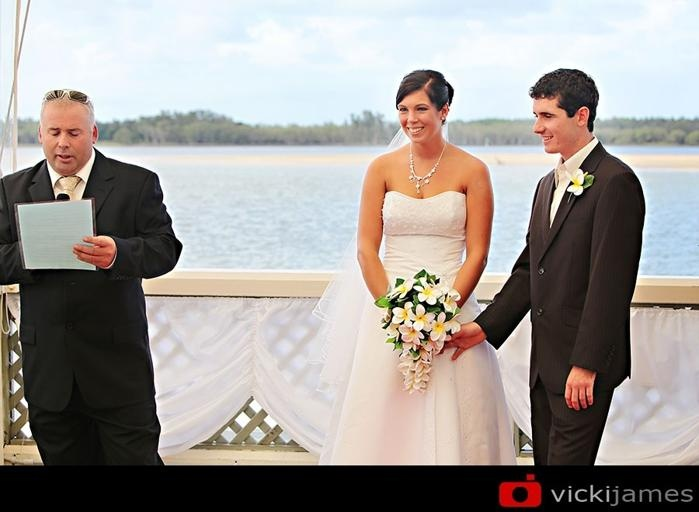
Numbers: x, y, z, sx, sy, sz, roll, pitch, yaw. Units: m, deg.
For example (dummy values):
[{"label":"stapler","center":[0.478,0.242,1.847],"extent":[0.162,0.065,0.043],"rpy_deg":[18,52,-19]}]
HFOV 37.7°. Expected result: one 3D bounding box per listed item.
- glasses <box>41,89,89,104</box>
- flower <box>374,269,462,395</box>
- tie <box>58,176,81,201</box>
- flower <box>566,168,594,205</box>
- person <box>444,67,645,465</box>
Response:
[{"label":"glasses","center":[-1.461,-0.823,5.325],"extent":[0.232,0.077,0.089],"rpy_deg":[-3,10,-13]},{"label":"flower","center":[0.359,0.412,5.419],"extent":[0.606,0.703,0.607],"rpy_deg":[-1,1,-2]},{"label":"tie","center":[-1.469,-0.362,5.419],"extent":[0.133,0.114,0.047],"rpy_deg":[-3,10,-8]},{"label":"flower","center":[1.162,-0.366,5.214],"extent":[0.138,0.127,0.036],"rpy_deg":[-4,-11,36]},{"label":"person","center":[1.159,0.077,5.316],"extent":[0.435,2.056,0.582],"rpy_deg":[-7,11,-26]}]
